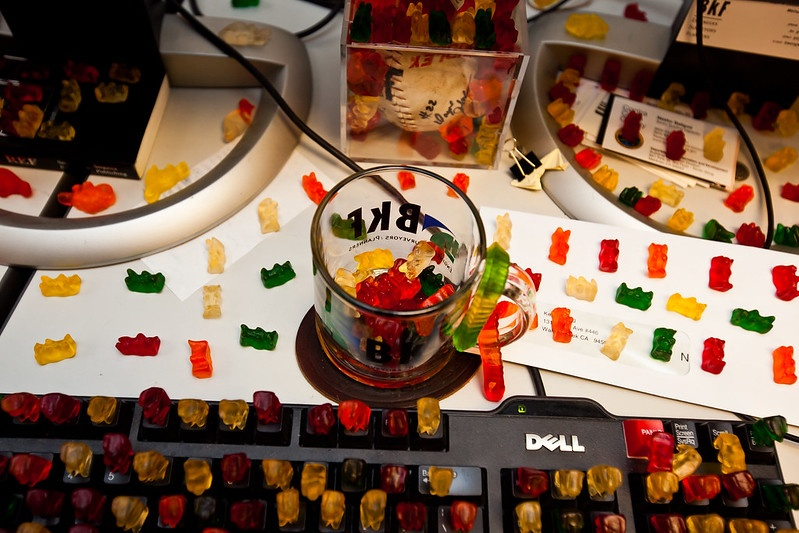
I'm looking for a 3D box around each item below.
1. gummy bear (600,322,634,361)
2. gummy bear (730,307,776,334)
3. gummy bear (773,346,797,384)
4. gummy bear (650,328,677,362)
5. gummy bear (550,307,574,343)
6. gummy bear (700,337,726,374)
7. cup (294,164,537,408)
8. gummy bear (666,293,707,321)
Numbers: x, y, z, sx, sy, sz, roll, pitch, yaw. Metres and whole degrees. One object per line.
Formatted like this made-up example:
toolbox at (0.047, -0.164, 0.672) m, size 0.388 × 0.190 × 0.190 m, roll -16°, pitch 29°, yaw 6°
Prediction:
gummy bear at (0.298, 0.103, 0.773) m, size 0.030 × 0.056 × 0.018 m, roll 30°, pitch -14°, yaw -1°
gummy bear at (0.499, 0.075, 0.789) m, size 0.061 × 0.026 × 0.020 m, roll 14°, pitch 27°, yaw 8°
gummy bear at (0.525, 0.134, 0.765) m, size 0.031 × 0.049 × 0.013 m, roll 1°, pitch -9°, yaw -3°
gummy bear at (0.366, 0.106, 0.773) m, size 0.036 × 0.035 × 0.031 m, roll 10°, pitch 27°, yaw 2°
gummy bear at (0.224, 0.079, 0.781) m, size 0.050 × 0.038 × 0.015 m, roll 5°, pitch 2°, yaw -37°
gummy bear at (0.434, 0.122, 0.769) m, size 0.034 × 0.038 × 0.033 m, roll 10°, pitch 27°, yaw 3°
cup at (0.046, 0.044, 0.719) m, size 0.292 × 0.215 × 0.258 m, roll 12°, pitch 53°, yaw 5°
gummy bear at (0.404, 0.055, 0.792) m, size 0.049 × 0.032 × 0.011 m, roll 31°, pitch 0°, yaw 11°
